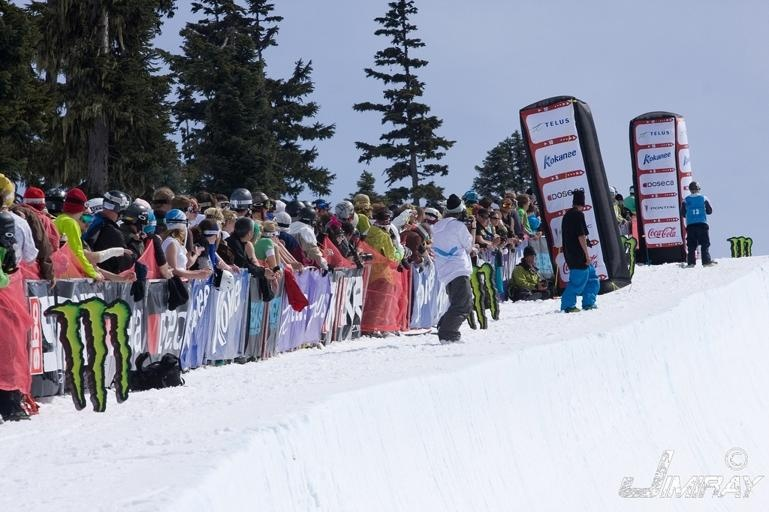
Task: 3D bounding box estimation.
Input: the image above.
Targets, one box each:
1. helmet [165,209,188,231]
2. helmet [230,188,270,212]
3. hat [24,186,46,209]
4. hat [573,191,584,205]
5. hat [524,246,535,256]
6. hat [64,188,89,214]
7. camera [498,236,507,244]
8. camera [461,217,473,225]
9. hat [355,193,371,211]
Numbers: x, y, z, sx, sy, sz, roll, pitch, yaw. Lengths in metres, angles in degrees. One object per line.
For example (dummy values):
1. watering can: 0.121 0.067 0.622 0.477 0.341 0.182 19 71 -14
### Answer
1. helmet: -3.407 -0.595 19.203 0.334 0.300 0.289 3 12 -13
2. helmet: -2.489 -1.018 21.295 0.382 0.319 0.575 2 1 33
3. hat: -5.524 -0.903 18.502 0.320 0.406 0.916 -2 -3 -17
4. hat: 3.916 -1.182 23.826 0.202 0.294 0.294 3 9 9
5. hat: 3.357 -0.117 27.427 0.231 0.182 0.174 -8 11 21
6. hat: -4.819 -0.862 18.311 0.294 0.406 0.399 7 -5 11
7. camera: 2.698 -0.375 27.182 0.163 0.122 0.229 0 2 -4
8. camera: 1.535 -0.643 21.922 0.145 0.081 0.171 -9 16 2
9. hat: -0.485 -1.104 23.627 0.320 0.268 0.237 -4 1 12
